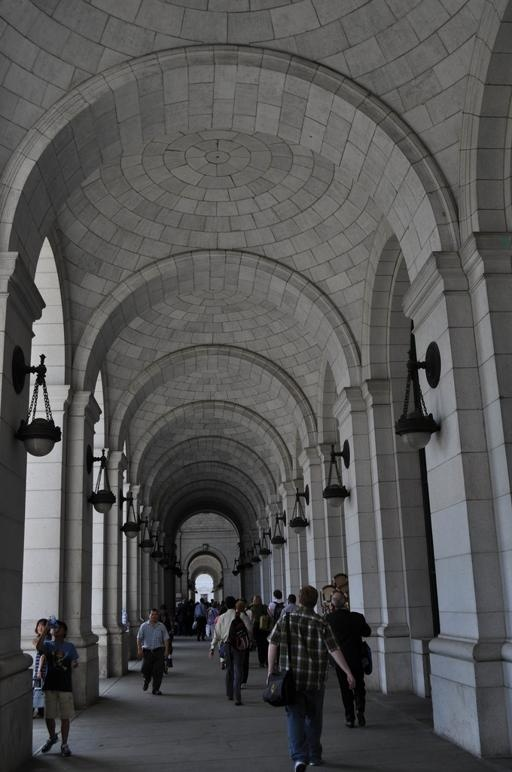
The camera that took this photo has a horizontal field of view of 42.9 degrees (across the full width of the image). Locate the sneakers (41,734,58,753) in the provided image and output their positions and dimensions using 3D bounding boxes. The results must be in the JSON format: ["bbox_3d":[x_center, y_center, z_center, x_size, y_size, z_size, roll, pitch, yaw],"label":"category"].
[{"bbox_3d":[-1.977,3.397,6.205,0.120,0.151,0.219,7,-21,-25],"label":"sneakers"}]

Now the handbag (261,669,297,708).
[{"bbox_3d":[0.171,2.111,4.559,0.208,0.239,0.235,-5,-19,8],"label":"handbag"}]

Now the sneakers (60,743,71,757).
[{"bbox_3d":[-1.765,3.378,6.051,0.057,0.079,0.174,4,-28,-13],"label":"sneakers"}]

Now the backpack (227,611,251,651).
[{"bbox_3d":[-0.271,3.762,10.003,0.358,0.589,0.294,28,-48,-36],"label":"backpack"}]

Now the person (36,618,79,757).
[{"bbox_3d":[-1.937,2.894,6.313,0.379,1.182,0.466,0,-18,-7],"label":"person"}]
